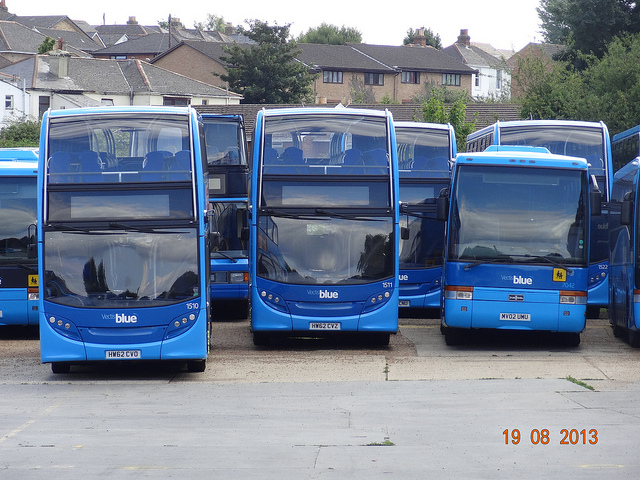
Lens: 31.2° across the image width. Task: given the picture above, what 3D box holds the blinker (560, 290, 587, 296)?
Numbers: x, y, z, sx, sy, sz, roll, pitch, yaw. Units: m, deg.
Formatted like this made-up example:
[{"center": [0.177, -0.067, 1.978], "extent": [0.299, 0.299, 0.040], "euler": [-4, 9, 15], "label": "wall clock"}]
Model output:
[{"center": [5.148, 1.087, 23.405], "extent": [0.492, 0.114, 0.080], "euler": [-1, 8, -6], "label": "blinker"}]

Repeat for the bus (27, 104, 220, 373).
[{"center": [-5.957, -0.258, 24.753], "extent": [3.674, 5.025, 8.675], "euler": [-1, 4, -32], "label": "bus"}]

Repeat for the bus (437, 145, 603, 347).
[{"center": [4.464, -0.115, 28.301], "extent": [3.322, 4.531, 9.838], "euler": [2, 2, 6], "label": "bus"}]

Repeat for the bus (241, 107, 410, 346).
[{"center": [0.088, -0.317, 24.050], "extent": [3.080, 4.496, 1.412], "euler": [0, 9, 2], "label": "bus"}]

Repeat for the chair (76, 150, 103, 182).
[{"center": [-4.357, -1.365, 21.490], "extent": [0.483, 0.822, 0.454], "euler": [2, -30, -13], "label": "chair"}]

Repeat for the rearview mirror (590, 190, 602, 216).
[{"center": [5.690, -0.756, 23.691], "extent": [0.225, 0.533, 0.395], "euler": [1, 8, 11], "label": "rearview mirror"}]
